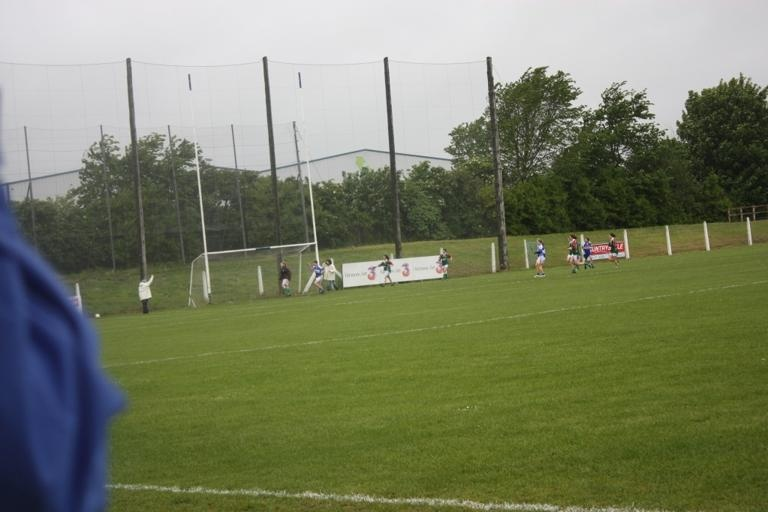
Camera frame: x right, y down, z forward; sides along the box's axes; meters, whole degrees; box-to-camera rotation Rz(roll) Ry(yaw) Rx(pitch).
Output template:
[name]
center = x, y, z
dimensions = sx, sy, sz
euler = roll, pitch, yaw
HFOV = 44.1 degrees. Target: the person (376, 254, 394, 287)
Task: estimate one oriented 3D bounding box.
[person]
center = 0.160, 0.713, 48.425
dimensions = 0.618, 1.238, 1.100
euler = -5, 2, 0
